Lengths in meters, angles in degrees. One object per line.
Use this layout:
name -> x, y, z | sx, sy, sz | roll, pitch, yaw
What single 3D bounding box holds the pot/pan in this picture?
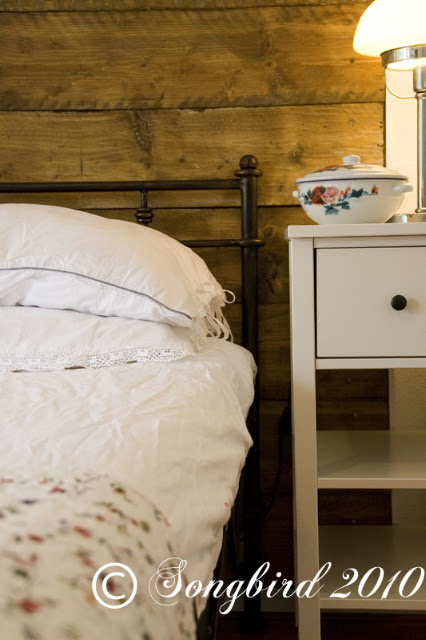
pot/pan -> 0.227, -0.186, 1.113 | 0.175, 0.075, 0.141 | -1, -1, 4
